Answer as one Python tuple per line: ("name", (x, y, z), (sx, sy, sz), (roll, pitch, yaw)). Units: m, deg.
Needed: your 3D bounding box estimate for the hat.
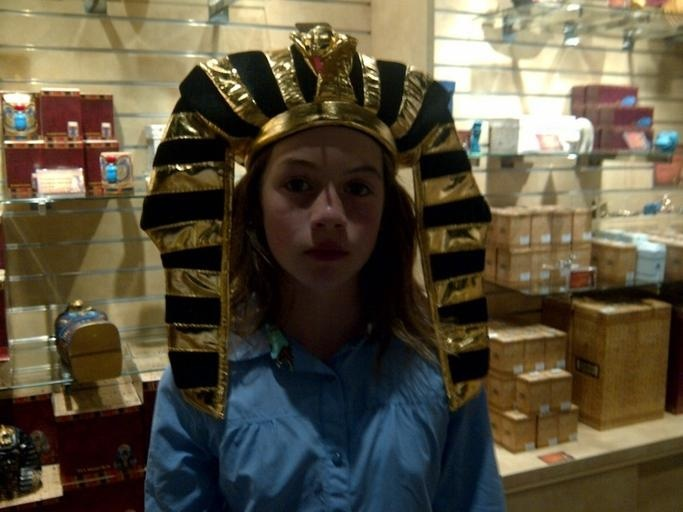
("hat", (-0.044, -0.067, 1.405), (0.768, 0.777, 0.196), (-4, 1, 6))
